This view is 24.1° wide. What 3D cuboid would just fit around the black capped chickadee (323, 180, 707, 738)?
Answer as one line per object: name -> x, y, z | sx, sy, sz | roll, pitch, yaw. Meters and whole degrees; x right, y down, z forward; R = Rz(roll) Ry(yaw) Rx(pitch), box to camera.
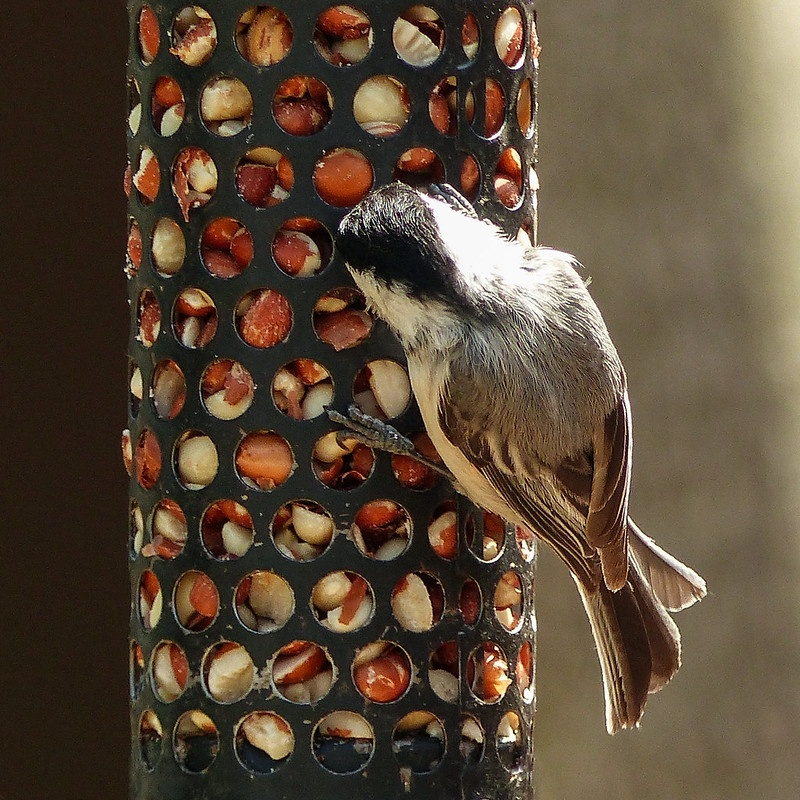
black capped chickadee -> 0.161, -0.008, 2.651 | 0.935, 0.332, 0.372 | 59, -6, 3
